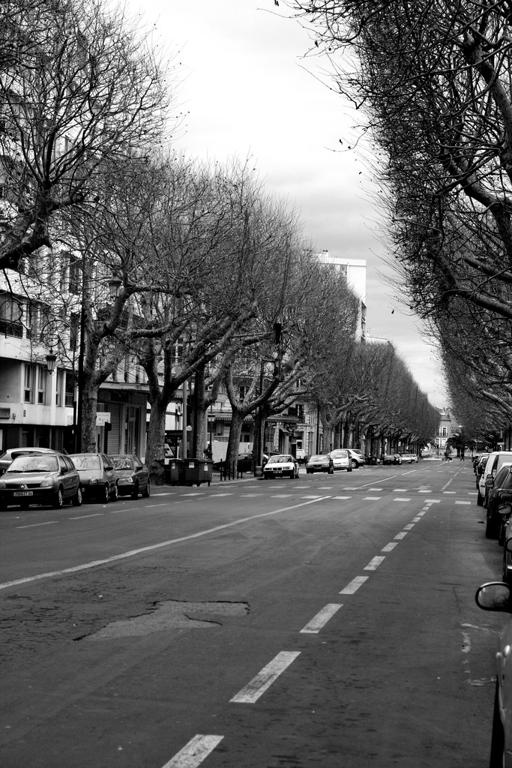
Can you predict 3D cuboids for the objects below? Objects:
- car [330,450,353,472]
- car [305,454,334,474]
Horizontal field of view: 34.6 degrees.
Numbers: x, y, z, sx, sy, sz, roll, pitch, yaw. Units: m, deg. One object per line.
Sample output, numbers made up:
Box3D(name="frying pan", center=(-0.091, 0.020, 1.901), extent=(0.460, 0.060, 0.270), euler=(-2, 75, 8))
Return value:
Box3D(name="car", center=(8.136, 7.208, 77.469), extent=(1.158, 1.433, 3.009), euler=(-1, -10, 10))
Box3D(name="car", center=(5.445, 6.971, 70.235), extent=(2.050, 1.430, 1.841), euler=(1, -5, -3))
